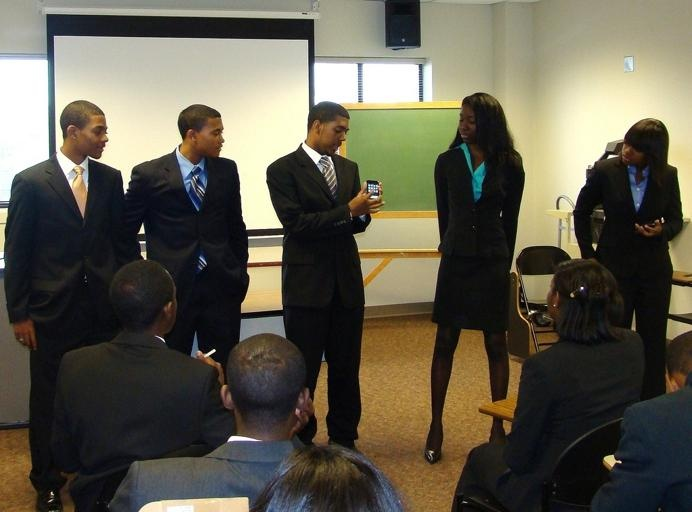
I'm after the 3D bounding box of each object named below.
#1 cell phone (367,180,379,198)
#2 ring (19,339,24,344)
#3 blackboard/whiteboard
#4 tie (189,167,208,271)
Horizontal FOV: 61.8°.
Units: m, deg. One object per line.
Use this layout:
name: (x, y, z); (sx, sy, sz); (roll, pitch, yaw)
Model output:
cell phone: (0.142, -0.348, 3.058); (0.066, 0.100, 0.010); (12, -5, -16)
ring: (-1.662, 0.443, 2.978); (0.022, 0.035, 0.008); (-9, 21, -20)
blackboard/whiteboard: (0.433, -0.798, 4.882); (1.164, 1.246, 0.093); (-1, -2, -1)
tie: (-0.788, -0.199, 3.124); (0.076, 0.565, 0.114); (-3, 8, -14)
